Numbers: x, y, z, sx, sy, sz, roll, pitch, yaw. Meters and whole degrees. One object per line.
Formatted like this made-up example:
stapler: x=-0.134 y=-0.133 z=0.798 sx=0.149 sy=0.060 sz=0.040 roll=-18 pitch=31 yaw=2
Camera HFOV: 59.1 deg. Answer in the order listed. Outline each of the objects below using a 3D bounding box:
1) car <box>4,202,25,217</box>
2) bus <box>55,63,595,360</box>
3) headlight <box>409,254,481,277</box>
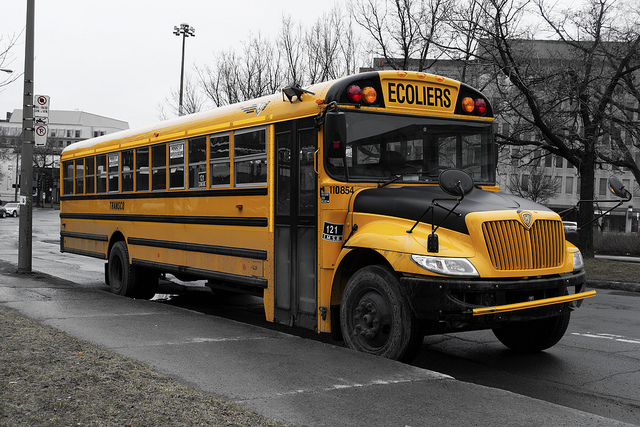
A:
car: x=-28.177 y=-0.336 z=51.440 sx=1.399 sy=1.235 sz=3.190 roll=-1 pitch=-5 yaw=-10
bus: x=-1.175 y=-0.085 z=10.976 sx=3.689 sy=4.137 sz=10.966 roll=3 pitch=-2 yaw=-42
headlight: x=1.421 y=0.596 z=6.442 sx=0.782 sy=0.213 sz=0.115 roll=2 pitch=0 yaw=10
